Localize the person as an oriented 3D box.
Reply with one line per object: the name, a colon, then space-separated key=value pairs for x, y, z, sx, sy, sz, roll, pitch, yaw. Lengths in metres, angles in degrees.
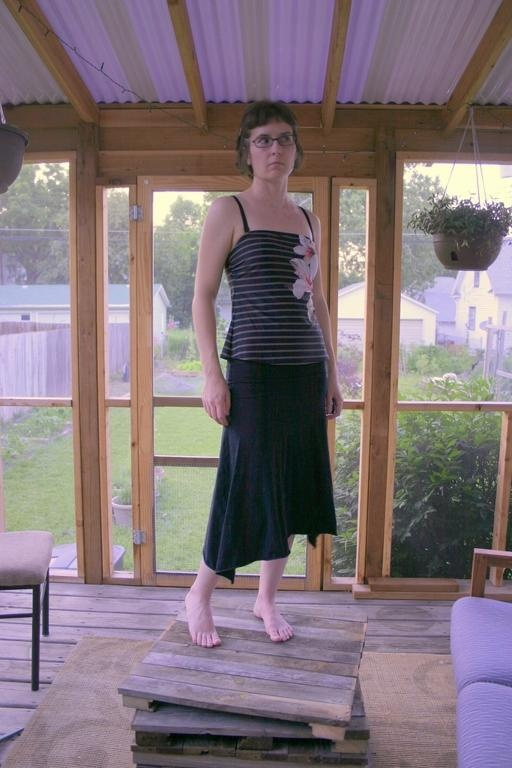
person: x=0.018 y=-0.026 z=1.955 sx=0.410 sy=1.507 sz=0.290 roll=-2 pitch=5 yaw=-26

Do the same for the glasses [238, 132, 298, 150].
glasses: x=0.046 y=-0.670 z=1.914 sx=0.129 sy=0.047 sz=0.059 roll=1 pitch=5 yaw=-2
